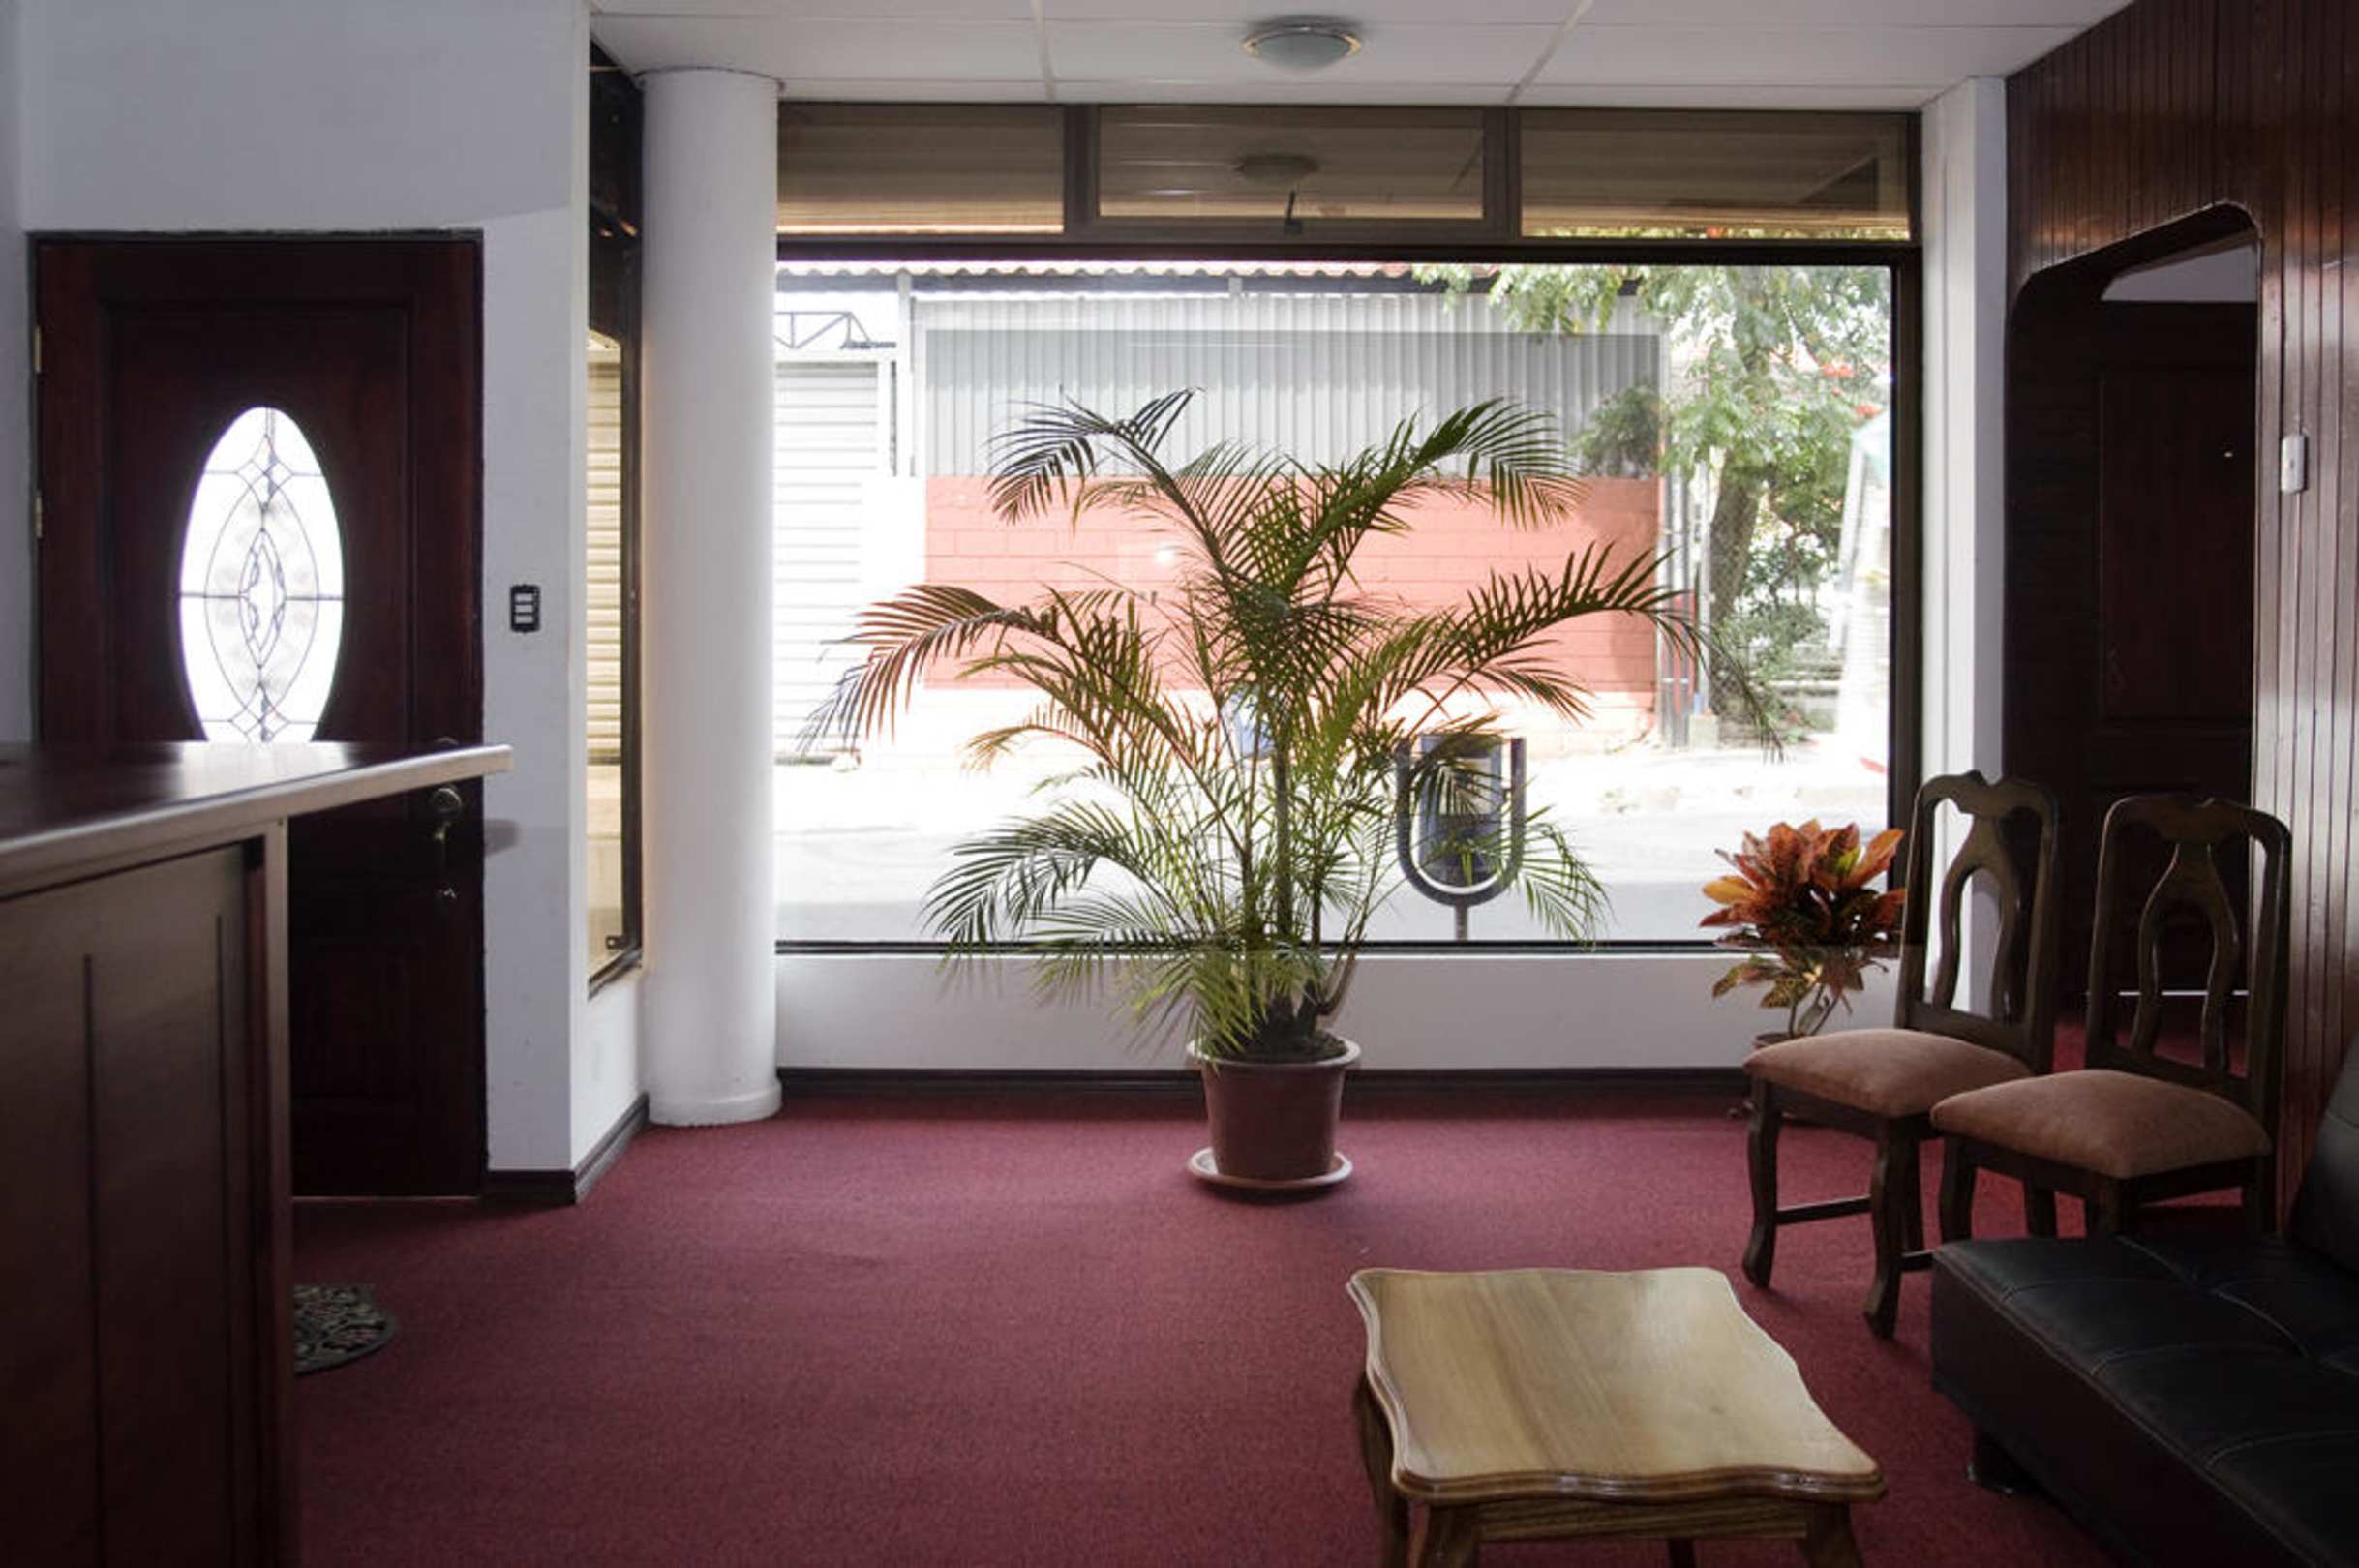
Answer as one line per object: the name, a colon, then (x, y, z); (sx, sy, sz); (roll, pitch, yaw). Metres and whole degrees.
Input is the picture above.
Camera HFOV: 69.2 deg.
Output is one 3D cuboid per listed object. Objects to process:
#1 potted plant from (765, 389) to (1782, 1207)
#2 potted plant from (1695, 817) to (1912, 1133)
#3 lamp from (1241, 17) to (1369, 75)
potted plant: (0.307, 0.125, 5.309); (2.778, 2.511, 2.049); (10, 13, 42)
potted plant: (1.989, 0.555, 5.285); (0.681, 0.747, 0.553); (-1, -1, -4)
lamp: (0.373, -2.222, 5.154); (0.377, 0.123, 0.233); (-1, 12, -6)
